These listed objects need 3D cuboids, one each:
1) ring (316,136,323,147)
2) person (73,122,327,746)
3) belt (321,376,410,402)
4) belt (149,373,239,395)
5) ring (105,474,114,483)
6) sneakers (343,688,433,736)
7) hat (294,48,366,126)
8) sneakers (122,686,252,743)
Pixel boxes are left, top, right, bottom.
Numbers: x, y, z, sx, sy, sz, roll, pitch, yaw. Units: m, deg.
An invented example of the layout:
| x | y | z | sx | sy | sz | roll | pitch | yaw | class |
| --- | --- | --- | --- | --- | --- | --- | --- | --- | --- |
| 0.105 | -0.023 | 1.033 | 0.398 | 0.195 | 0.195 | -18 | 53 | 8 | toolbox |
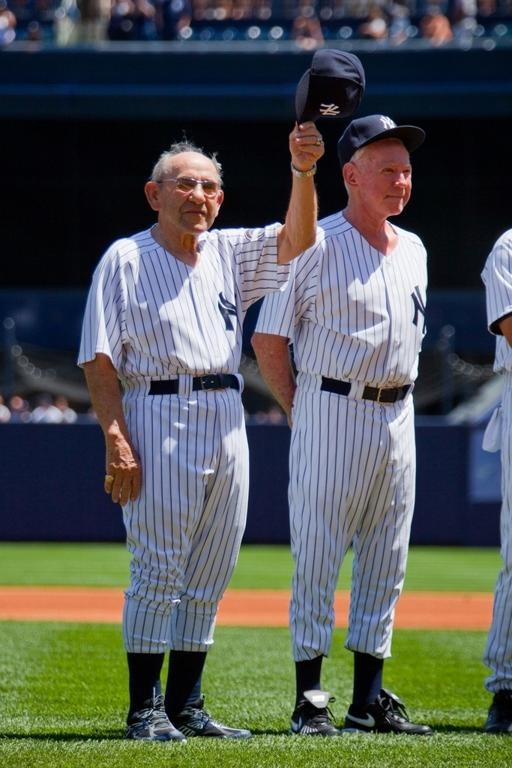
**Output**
| x | y | z | sx | sy | sz | roll | pitch | yaw | class |
| --- | --- | --- | --- | --- | --- | --- | --- | --- | --- |
| 0.236 | -0.898 | 5.795 | 0.027 | 0.037 | 0.014 | -2 | 1 | -38 | ring |
| -0.235 | 0.146 | 5.822 | 0.734 | 2.281 | 0.569 | 2 | 3 | -40 | person |
| 0.425 | 0.023 | 5.994 | 0.353 | 0.063 | 0.084 | 4 | 3 | -15 | belt |
| -0.208 | 0.000 | 5.823 | 0.367 | 0.094 | 0.111 | 3 | 3 | -31 | belt |
| -0.534 | 0.338 | 5.685 | 0.024 | 0.033 | 0.015 | -2 | -12 | 1 | ring |
| 0.482 | 1.235 | 5.896 | 0.370 | 0.178 | 0.127 | 0 | -5 | 8 | sneakers |
| 0.276 | -1.115 | 5.898 | 0.262 | 0.317 | 0.218 | 4 | 3 | -11 | hat |
| -0.249 | 1.213 | 5.743 | 0.467 | 0.160 | 0.287 | 3 | 3 | -25 | sneakers |
